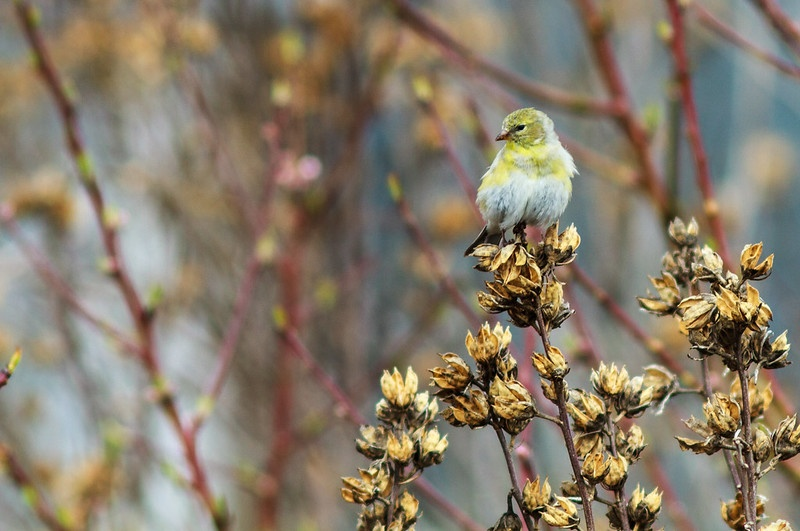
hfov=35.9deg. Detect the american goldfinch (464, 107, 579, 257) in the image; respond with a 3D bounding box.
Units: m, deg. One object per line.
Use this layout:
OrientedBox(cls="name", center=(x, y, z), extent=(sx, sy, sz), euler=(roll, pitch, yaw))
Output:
OrientedBox(cls="american goldfinch", center=(0.252, -0.210, 2.640), extent=(0.181, 0.328, 0.310), euler=(-5, 21, -13))
